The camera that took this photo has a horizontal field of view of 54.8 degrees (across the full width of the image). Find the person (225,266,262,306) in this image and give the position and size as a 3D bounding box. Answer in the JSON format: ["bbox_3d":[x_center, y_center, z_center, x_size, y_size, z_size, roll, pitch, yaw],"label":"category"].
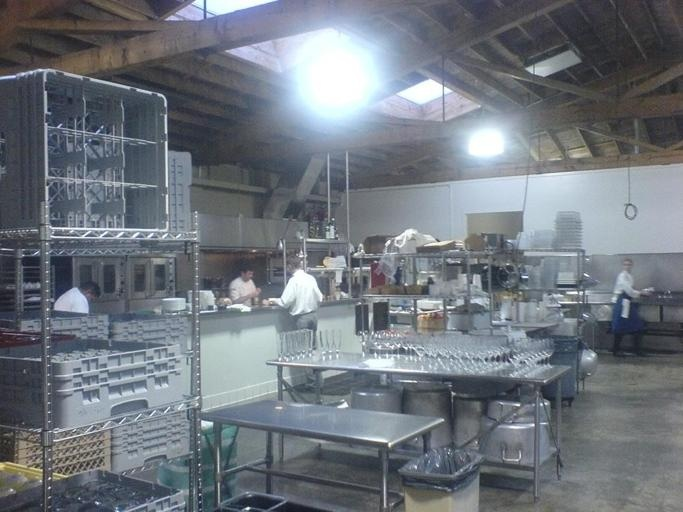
[{"bbox_3d":[-1.351,0.420,9.120,0.399,0.553,0.954,-1,1,-10],"label":"person"}]

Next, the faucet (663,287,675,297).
[{"bbox_3d":[5.429,0.593,10.895,0.173,0.085,0.658,0,1,27],"label":"faucet"}]

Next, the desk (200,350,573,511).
[{"bbox_3d":[0.307,1.415,5.174,2.762,0.956,1.813,-2,1,-40],"label":"desk"}]

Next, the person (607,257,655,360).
[{"bbox_3d":[4.613,0.823,10.540,0.578,1.557,0.790,0,1,31],"label":"person"}]

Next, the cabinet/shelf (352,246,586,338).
[{"bbox_3d":[1.875,0.427,7.792,1.522,1.021,3.689,0,1,34],"label":"cabinet/shelf"}]

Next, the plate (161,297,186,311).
[{"bbox_3d":[-1.752,0.509,6.880,0.164,0.103,0.167,0,-3,-5],"label":"plate"}]

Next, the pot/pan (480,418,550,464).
[{"bbox_3d":[1.519,1.549,5.652,0.643,0.414,0.625,11,-15,-40],"label":"pot/pan"}]
